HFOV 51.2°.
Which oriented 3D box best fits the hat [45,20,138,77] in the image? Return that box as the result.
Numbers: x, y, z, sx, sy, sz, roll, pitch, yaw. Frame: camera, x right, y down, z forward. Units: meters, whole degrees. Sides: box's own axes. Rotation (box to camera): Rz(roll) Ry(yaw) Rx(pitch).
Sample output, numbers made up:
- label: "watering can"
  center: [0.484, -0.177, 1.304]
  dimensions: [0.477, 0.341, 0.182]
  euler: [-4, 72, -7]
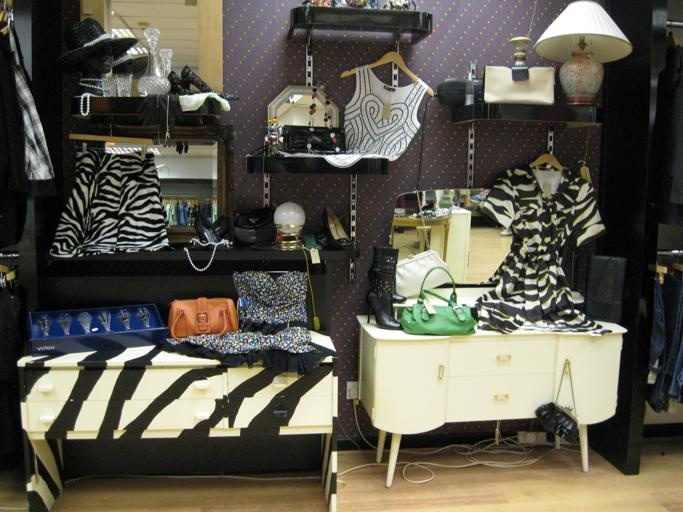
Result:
- label: "hat"
  center: [-1.380, -1.153, 3.886]
  dimensions: [0.273, 0.165, 0.419]
  euler: [-34, 2, -1]

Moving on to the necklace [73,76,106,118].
- label: "necklace"
  center: [-1.402, -0.905, 3.966]
  dimensions: [0.202, 0.222, 0.052]
  euler: [-1, -6, -11]

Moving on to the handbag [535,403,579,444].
- label: "handbag"
  center: [1.270, 0.985, 4.282]
  dimensions: [0.173, 0.277, 0.093]
  euler: [-44, -9, -14]

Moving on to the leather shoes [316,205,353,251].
- label: "leather shoes"
  center: [-0.032, -0.175, 4.292]
  dimensions: [0.204, 0.226, 0.310]
  euler: [-2, 13, 0]

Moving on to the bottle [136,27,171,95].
- label: "bottle"
  center: [-1.048, -1.085, 3.988]
  dimensions: [0.206, 0.360, 0.151]
  euler: [9, 15, 42]

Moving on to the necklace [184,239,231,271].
- label: "necklace"
  center: [-0.774, 0.000, 4.188]
  dimensions: [0.276, 0.244, 0.300]
  euler: [-4, 13, -10]

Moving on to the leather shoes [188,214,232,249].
- label: "leather shoes"
  center: [-0.763, -0.137, 4.149]
  dimensions: [0.126, 0.156, 0.348]
  euler: [-5, 10, -40]

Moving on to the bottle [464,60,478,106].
- label: "bottle"
  center: [0.791, -1.057, 4.344]
  dimensions: [0.063, 0.259, 0.270]
  euler: [1, 13, 11]

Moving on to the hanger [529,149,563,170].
- label: "hanger"
  center: [1.293, -0.593, 4.519]
  dimensions: [0.127, 0.057, 0.134]
  euler: [4, 0, -18]

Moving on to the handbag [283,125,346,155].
- label: "handbag"
  center: [-0.157, -0.681, 4.154]
  dimensions: [0.374, 0.169, 0.058]
  euler: [-7, 12, -19]

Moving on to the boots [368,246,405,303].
- label: "boots"
  center: [0.253, 0.106, 4.309]
  dimensions: [0.195, 0.335, 0.091]
  euler: [8, 14, 38]

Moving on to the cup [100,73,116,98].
- label: "cup"
  center: [-1.295, -0.952, 3.976]
  dimensions: [0.101, 0.183, 0.106]
  euler: [-2, 6, 0]

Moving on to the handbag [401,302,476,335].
- label: "handbag"
  center: [0.562, 0.377, 4.164]
  dimensions: [0.343, 0.160, 0.205]
  euler: [2, 1, -8]

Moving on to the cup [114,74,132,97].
- label: "cup"
  center: [-1.212, -0.958, 3.984]
  dimensions: [0.112, 0.142, 0.108]
  euler: [0, 13, 0]

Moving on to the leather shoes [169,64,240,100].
- label: "leather shoes"
  center: [-0.720, -0.982, 4.103]
  dimensions: [0.515, 0.256, 0.167]
  euler: [-1, 5, -16]

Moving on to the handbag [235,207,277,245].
- label: "handbag"
  center: [-0.507, -0.179, 4.241]
  dimensions: [0.246, 0.206, 0.206]
  euler: [0, 12, 6]
